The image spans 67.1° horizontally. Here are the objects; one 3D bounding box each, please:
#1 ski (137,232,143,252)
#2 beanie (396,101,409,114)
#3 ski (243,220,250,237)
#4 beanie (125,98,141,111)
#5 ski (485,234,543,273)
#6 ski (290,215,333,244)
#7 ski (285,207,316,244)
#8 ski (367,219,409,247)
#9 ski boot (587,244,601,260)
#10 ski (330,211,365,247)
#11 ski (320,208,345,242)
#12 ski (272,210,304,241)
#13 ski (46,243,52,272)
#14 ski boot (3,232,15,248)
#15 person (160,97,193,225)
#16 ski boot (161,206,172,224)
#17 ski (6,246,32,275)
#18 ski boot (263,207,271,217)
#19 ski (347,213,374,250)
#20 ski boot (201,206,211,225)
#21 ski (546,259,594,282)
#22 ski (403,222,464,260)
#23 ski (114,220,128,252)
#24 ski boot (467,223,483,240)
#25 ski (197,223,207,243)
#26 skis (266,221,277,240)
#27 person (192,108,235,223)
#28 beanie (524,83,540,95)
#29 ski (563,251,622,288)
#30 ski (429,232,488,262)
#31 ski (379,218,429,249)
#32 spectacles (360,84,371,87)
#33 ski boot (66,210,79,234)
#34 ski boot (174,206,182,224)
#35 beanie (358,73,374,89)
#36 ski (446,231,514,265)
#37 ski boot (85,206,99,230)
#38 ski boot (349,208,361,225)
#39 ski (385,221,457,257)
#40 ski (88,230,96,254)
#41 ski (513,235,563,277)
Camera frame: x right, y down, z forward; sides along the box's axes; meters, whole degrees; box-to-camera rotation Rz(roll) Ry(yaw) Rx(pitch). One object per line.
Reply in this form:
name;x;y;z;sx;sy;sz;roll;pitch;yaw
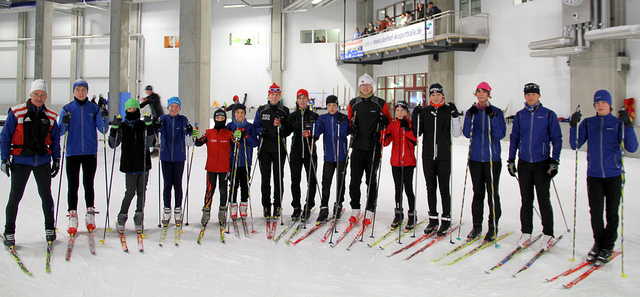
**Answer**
ski;-5.110;2.669;13.660;0.127;0.154;0.580;-6;61;-19
beanie;2.458;-1.222;14.346;0.282;0.294;0.385;17;2;26
ski;-2.191;2.368;14.175;0.129;0.102;0.544;-4;39;-13
beanie;-5.477;-1.286;13.989;0.393;0.308;0.284;-1;5;-8
ski;5.422;2.985;13.491;1.598;0.133;0.201;-32;14;-18
ski;-0.276;2.420;14.202;0.191;0.255;1.860;39;37;24
ski;-0.674;2.338;14.501;0.181;0.194;1.679;37;21;-2
ski;1.991;2.503;14.088;1.705;0.176;0.150;-22;42;-29
ski boot;7.614;2.888;13.378;0.185;0.242;0.549;6;25;23
ski;0.801;2.418;14.198;0.187;0.117;1.666;22;41;27
ski;0.322;2.275;14.311;0.136;0.100;1.268;12;38;21
ski;-0.891;2.321;14.460;0.215;0.206;1.892;32;31;8
ski;-7.505;3.002;13.322;0.151;0.079;0.916;-2;37;-23
ski boot;-8.755;2.564;13.507;0.348;0.416;0.118;1;5;10
person;-4.280;0.364;14.182;0.835;3.708;0.663;-2;5;-17
ski boot;-4.519;1.960;14.157;0.265;0.462;0.252;-3;5;-27
ski;-8.319;3.119;13.255;0.136;0.108;0.950;-35;60;-20
ski boot;-1.604;1.929;14.527;0.202;0.267;0.096;4;-3;2
ski;1.181;2.481;14.117;0.135;0.145;1.302;20;50;23
ski boot;-3.417;1.986;14.262;0.258;0.518;0.300;1;5;11
ski;6.862;3.361;13.179;1.052;0.084;0.115;-24;54;-10
ski;3.245;2.707;13.809;1.614;0.114;0.153;-32;52;-21
ski;-5.626;2.482;13.705;0.171;0.200;0.940;-23;55;-16
ski boot;4.486;2.387;13.948;0.230;0.648;0.257;16;-19;40
ski;-3.441;2.471;13.986;0.138;0.108;0.457;5;57;5
skis;-1.458;2.404;14.146;0.230;0.067;0.451;2;47;4
person;-3.047;0.512;14.255;1.021;3.389;0.579;-1;5;-11
beanie;5.992;-1.692;13.670;0.296;0.262;0.340;4;13;9
ski;7.473;3.348;13.163;1.553;0.088;0.171;-31;45;-11
ski;3.936;2.836;13.667;1.214;0.130;0.133;-30;45;-16
ski;2.442;2.524;14.039;1.383;0.138;0.151;-34;45;-31
spectacles;1.354;-1.869;14.358;0.299;0.078;0.100;0;5;6
ski boot;-7.117;2.097;13.808;0.267;0.670;0.413;-3;5;-28
ski boot;-4.179;1.941;14.127;0.164;0.531;0.235;-4;-2;-17
beanie;1.392;-2.043;14.588;0.451;0.396;0.539;-1;9;1
ski;4.538;2.853;13.636;1.428;0.152;0.158;-29;44;-11
ski boot;-6.597;2.018;13.862;0.284;0.646;0.291;-4;6;-36
ski boot;1.027;2.016;14.422;0.183;0.255;0.565;-20;30;55
ski;2.917;2.653;13.871;2.076;0.287;0.234;-18;44;-24
ski;-6.449;2.667;13.571;0.172;0.720;0.171;-9;-23;-6
ski;6.059;3.038;13.423;1.826;0.199;0.141;-32;77;-29
